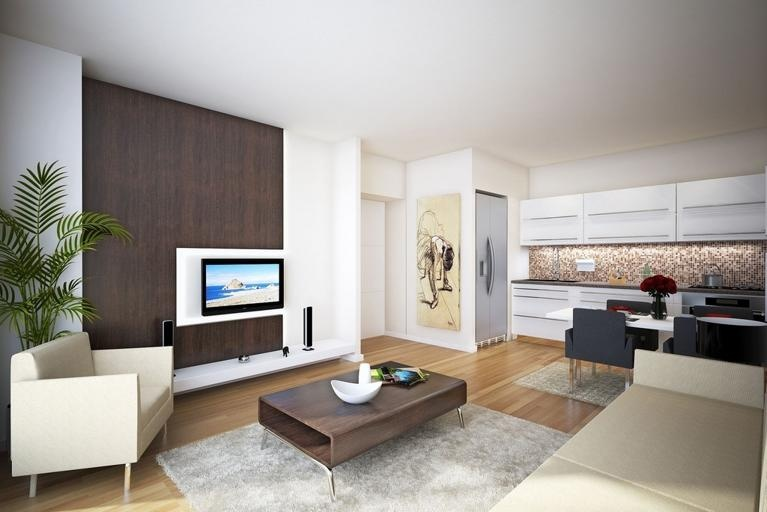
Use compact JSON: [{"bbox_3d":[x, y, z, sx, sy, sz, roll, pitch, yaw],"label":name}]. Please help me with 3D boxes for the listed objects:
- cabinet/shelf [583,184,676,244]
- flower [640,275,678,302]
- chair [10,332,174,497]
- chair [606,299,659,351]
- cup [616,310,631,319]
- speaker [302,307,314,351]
[{"bbox_3d":[4.043,-0.406,7.339,1.294,0.924,0.754,-1,-2,43],"label":"cabinet/shelf"},{"bbox_3d":[3.133,0.306,5.256,0.360,0.367,0.359,-1,11,29],"label":"flower"},{"bbox_3d":[-2.762,1.449,4.546,1.056,1.150,1.451,1,-1,-18],"label":"chair"},{"bbox_3d":[2.952,0.832,5.445,0.481,0.679,0.704,2,-3,-36],"label":"chair"},{"bbox_3d":[2.812,0.677,5.387,0.181,0.064,0.135,5,2,13],"label":"cup"},{"bbox_3d":[-1.054,0.998,6.511,0.159,0.605,0.513,-3,14,-10],"label":"speaker"}]
